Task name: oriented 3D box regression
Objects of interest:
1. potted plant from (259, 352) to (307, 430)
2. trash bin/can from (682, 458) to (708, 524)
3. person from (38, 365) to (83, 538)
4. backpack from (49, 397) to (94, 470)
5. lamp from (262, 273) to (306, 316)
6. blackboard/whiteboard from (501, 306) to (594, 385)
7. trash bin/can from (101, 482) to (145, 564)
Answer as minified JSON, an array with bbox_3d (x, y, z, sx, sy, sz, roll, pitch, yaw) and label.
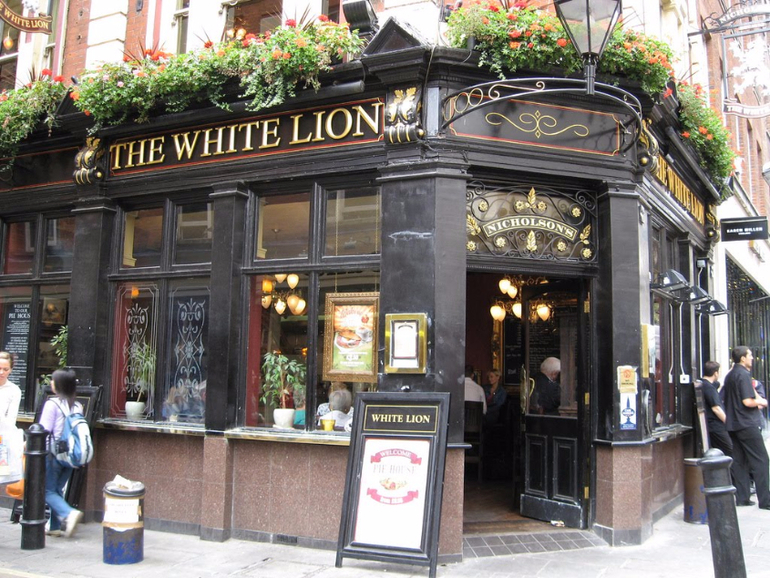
[{"bbox_3d":[-1.369,1.309,10.111,0.424,1.081,0.526,1,2,-45],"label":"potted plant"},{"bbox_3d":[4.463,2.953,10.876,0.333,0.869,0.342,0,-2,36],"label":"trash bin/can"},{"bbox_3d":[-4.342,2.117,9.859,0.710,2.077,0.711,1,-8,0],"label":"person"},{"bbox_3d":[-3.909,1.843,9.605,0.507,0.877,0.463,14,0,-44],"label":"backpack"},{"bbox_3d":[-1.378,0.062,10.193,0.575,0.565,0.191,5,3,29],"label":"lamp"},{"bbox_3d":[2.579,0.740,10.944,1.375,1.593,1.061,-1,0,32],"label":"blackboard/whiteboard"},{"bbox_3d":[-3.101,2.724,8.912,0.442,1.012,0.295,1,-2,-19],"label":"trash bin/can"}]
